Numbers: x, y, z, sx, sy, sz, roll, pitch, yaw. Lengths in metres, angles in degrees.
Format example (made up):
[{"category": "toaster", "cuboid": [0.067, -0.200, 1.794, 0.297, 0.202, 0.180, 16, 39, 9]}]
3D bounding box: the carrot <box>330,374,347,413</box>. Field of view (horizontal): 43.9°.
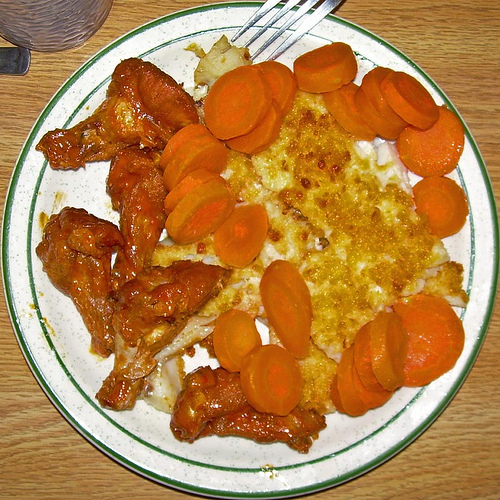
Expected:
[{"category": "carrot", "cuboid": [0.401, 0.679, 2.915, 0.028, 0.138, 0.141, -8, 77, 9]}]
